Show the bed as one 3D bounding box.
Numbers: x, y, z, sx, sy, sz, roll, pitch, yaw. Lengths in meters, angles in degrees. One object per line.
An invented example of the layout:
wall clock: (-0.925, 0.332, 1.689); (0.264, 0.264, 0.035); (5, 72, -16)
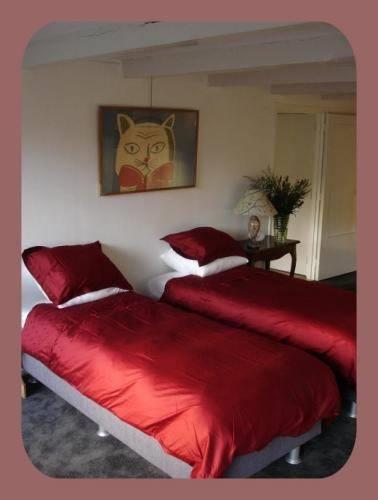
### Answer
bed: (-0.058, 0.406, 1.453); (0.998, 0.357, 0.735); (7, 10, 37)

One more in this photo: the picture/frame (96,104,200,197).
picture/frame: (-0.177, -0.407, 1.691); (0.501, 0.331, 0.011); (7, 10, 28)

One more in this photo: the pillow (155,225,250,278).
pillow: (0.059, -0.001, 2.161); (0.242, 0.144, 0.372); (22, 16, 32)

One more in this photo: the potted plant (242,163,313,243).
potted plant: (0.516, -0.255, 2.254); (0.253, 0.306, 0.349); (2, 17, 36)

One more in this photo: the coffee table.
coffee table: (0.491, 0.051, 2.484); (0.322, 0.278, 0.250); (-19, 29, -15)
